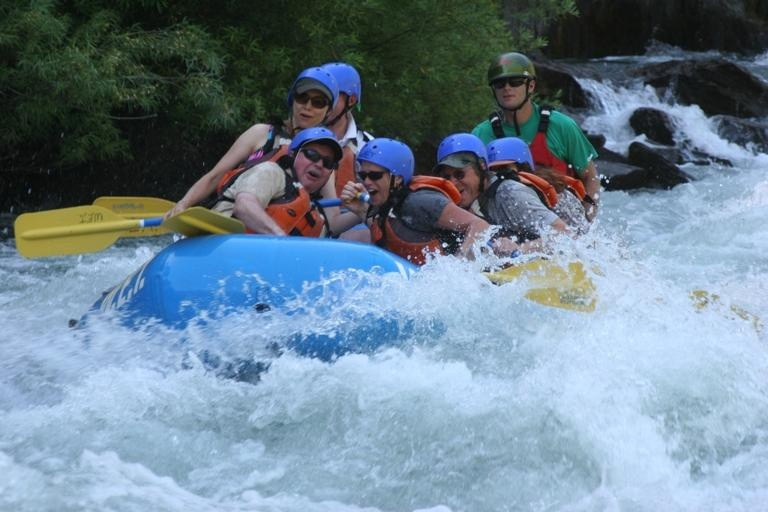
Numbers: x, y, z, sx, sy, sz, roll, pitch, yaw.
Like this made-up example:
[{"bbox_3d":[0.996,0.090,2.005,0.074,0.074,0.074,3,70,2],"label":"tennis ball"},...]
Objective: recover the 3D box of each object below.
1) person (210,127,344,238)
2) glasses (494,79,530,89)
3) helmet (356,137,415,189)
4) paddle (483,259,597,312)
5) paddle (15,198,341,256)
[{"bbox_3d":[-0.934,-0.563,6.601,0.797,0.940,0.961,20,33,30],"label":"person"},{"bbox_3d":[1.253,-1.710,7.798,0.336,0.130,0.080,6,28,7],"label":"glasses"},{"bbox_3d":[0.013,-0.798,6.524,0.418,0.344,0.328,-3,6,-15],"label":"helmet"},{"bbox_3d":[1.228,0.253,6.062,0.696,0.168,0.421,6,49,-14],"label":"paddle"},{"bbox_3d":[-1.738,-0.255,6.771,1.544,0.234,0.421,-8,-11,26],"label":"paddle"}]
